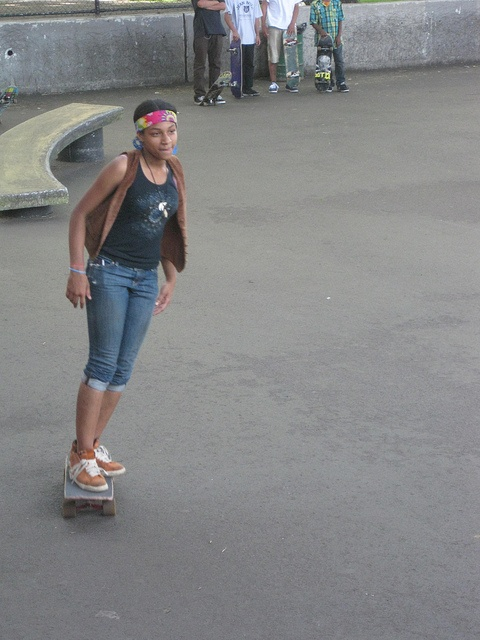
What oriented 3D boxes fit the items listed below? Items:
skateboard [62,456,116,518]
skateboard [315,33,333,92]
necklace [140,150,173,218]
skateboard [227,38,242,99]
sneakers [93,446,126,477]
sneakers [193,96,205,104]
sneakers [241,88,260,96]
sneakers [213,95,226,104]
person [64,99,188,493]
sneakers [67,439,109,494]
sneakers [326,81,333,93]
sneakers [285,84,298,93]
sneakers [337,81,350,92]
[{"bbox_3d":[-0.668,0.740,3.071,0.216,0.105,0.385,1,8,-16],"label":"skateboard"},{"bbox_3d":[1.679,-5.225,14.383,0.357,1.081,0.275,1,0,3],"label":"skateboard"},{"bbox_3d":[-0.320,-0.538,2.790,0.068,0.235,0.134,-15,5,37],"label":"necklace"},{"bbox_3d":[-0.100,-4.851,13.626,0.246,0.892,0.131,1,20,10],"label":"skateboard"},{"bbox_3d":[-0.592,0.628,3.146,0.206,0.095,0.068,9,17,21],"label":"sneakers"},{"bbox_3d":[-0.771,-4.115,13.178,0.096,0.079,0.239,-27,16,-17],"label":"sneakers"},{"bbox_3d":[0.185,-4.575,14.229,0.417,0.180,0.147,-6,45,-8],"label":"sneakers"},{"bbox_3d":[-0.409,-4.154,13.399,0.115,0.128,0.311,-1,2,-9],"label":"sneakers"},{"bbox_3d":[-0.473,-0.073,2.977,0.694,1.625,0.375,-14,22,-34],"label":"person"},{"bbox_3d":[-0.644,0.617,2.949,0.112,0.099,0.251,-4,14,-37],"label":"sneakers"},{"bbox_3d":[1.780,-4.762,14.402,0.097,0.194,0.273,7,61,6],"label":"sneakers"},{"bbox_3d":[1.060,-4.786,14.667,0.121,0.131,0.339,-4,8,-25],"label":"sneakers"},{"bbox_3d":[2.086,-4.783,14.529,0.145,0.152,0.344,-5,13,-16],"label":"sneakers"}]
